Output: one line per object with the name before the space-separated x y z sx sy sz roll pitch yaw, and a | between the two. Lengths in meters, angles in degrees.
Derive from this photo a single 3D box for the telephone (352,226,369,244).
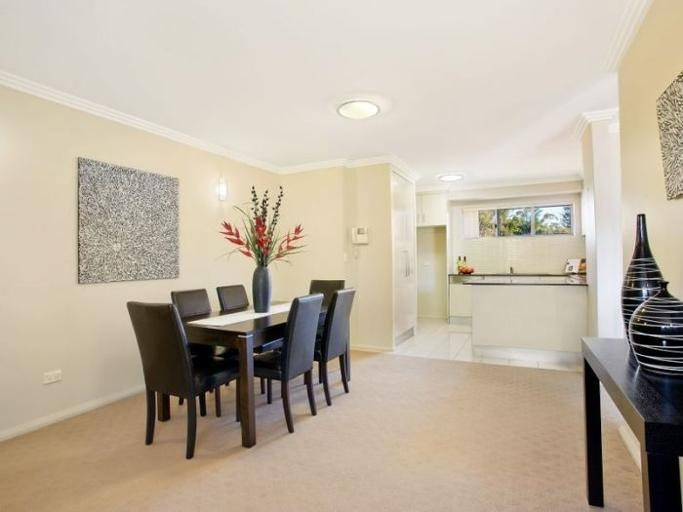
telephone | 0.259 -0.279 6.200 0.257 0.275 0.196 1 1 28

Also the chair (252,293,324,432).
chair | -0.546 0.896 3.963 0.726 1.100 0.665 2 2 41

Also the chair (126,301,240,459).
chair | -1.241 0.918 3.657 0.576 1.189 0.764 4 7 34

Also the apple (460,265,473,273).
apple | 2.201 0.243 8.007 0.142 0.090 0.158 3 -7 -20

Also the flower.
flower | -0.845 -0.373 4.431 0.562 0.679 0.716 -3 2 -5

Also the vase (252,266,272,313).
vase | -0.744 0.310 4.233 0.252 0.416 0.264 2 7 6
